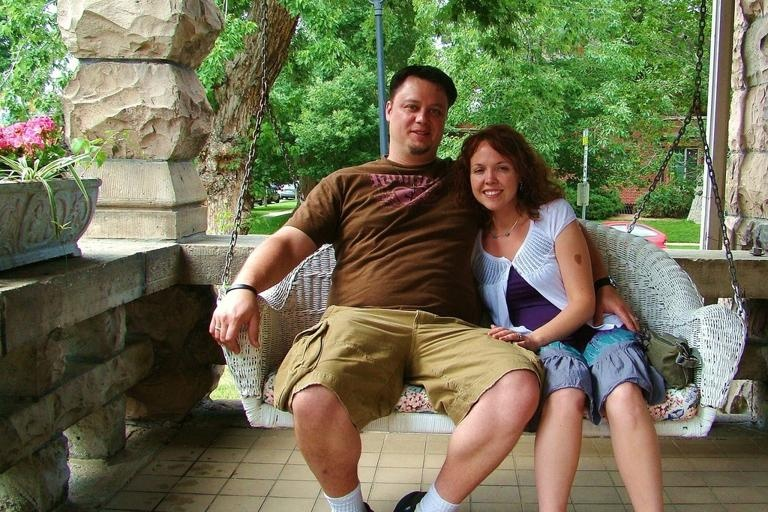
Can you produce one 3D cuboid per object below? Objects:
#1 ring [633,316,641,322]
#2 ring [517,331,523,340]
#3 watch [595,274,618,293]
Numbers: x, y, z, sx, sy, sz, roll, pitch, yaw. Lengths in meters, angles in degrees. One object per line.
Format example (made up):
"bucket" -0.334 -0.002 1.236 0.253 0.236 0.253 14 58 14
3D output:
"ring" 1.195 0.297 2.700 0.011 0.036 0.037 26 -20 -26
"ring" 0.584 0.345 2.432 0.011 0.022 0.029 -26 14 -26
"watch" 1.047 0.144 2.705 0.099 0.035 0.094 -6 -15 -25
